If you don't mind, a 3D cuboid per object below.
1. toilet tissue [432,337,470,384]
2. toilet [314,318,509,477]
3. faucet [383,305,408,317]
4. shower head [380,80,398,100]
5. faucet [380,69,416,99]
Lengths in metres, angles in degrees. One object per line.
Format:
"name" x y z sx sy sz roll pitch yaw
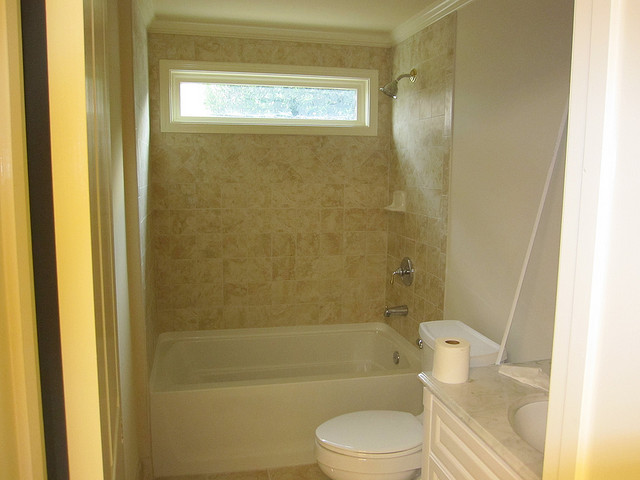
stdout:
"toilet tissue" 0.479 0.445 1.947 0.129 0.137 0.091 -1 6 7
"toilet" 0.372 0.861 2.630 0.754 0.917 0.734 1 7 -12
"faucet" 0.501 0.478 3.555 0.165 0.077 0.078 -4 6 -21
"shower head" 0.471 -1.010 3.553 0.117 0.129 0.109 21 1 1
"faucet" 0.504 -1.021 3.452 0.171 0.169 0.110 3 15 -27
